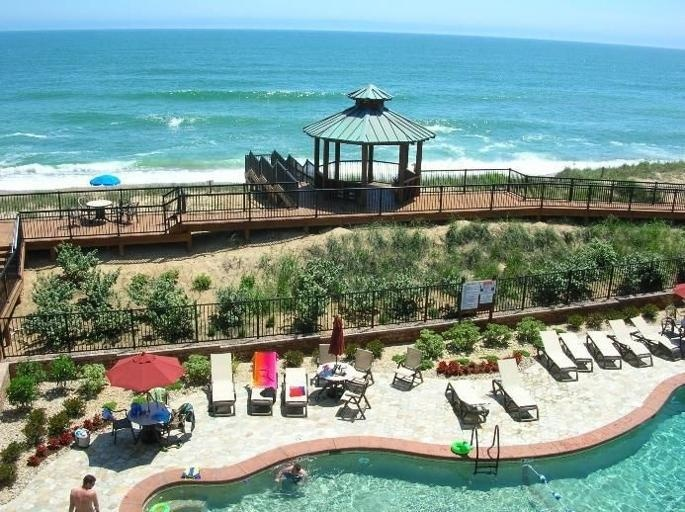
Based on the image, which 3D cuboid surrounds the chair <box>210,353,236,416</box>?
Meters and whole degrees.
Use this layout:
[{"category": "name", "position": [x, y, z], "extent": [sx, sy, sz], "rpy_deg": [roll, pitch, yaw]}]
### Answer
[{"category": "chair", "position": [-3.338, 3.507, 17.704], "extent": [0.718, 0.856, 1.681], "rpy_deg": [-1, 25, -10]}]

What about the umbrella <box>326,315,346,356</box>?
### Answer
[{"category": "umbrella", "position": [-0.233, 2.334, 17.904], "extent": [0.418, 1.407, 0.678], "rpy_deg": [-4, 17, -4]}]

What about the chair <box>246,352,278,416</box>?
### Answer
[{"category": "chair", "position": [-2.225, 3.547, 17.868], "extent": [0.772, 0.847, 1.683], "rpy_deg": [1, 29, -5]}]

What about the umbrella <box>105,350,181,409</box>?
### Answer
[{"category": "umbrella", "position": [-4.934, 2.877, 15.968], "extent": [1.749, 0.690, 1.097], "rpy_deg": [-6, 16, -15]}]

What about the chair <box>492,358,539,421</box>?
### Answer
[{"category": "chair", "position": [4.768, 3.725, 17.791], "extent": [0.800, 1.227, 1.557], "rpy_deg": [-7, 17, -14]}]

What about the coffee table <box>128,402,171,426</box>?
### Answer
[{"category": "coffee table", "position": [-4.870, 4.041, 16.156], "extent": [0.614, 0.188, 0.814], "rpy_deg": [1, 25, -22]}]

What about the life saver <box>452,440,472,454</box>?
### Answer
[{"category": "life saver", "position": [2.990, 4.878, 16.275], "extent": [0.505, 0.219, 0.506], "rpy_deg": [-1, 15, 6]}]

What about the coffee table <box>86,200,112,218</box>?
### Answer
[{"category": "coffee table", "position": [-9.513, -1.865, 25.176], "extent": [0.911, 0.533, 0.843], "rpy_deg": [11, 35, 1]}]

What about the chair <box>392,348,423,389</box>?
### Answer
[{"category": "chair", "position": [1.912, 3.364, 18.809], "extent": [0.861, 1.124, 0.917], "rpy_deg": [11, 21, 37]}]

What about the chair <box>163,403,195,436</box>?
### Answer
[{"category": "chair", "position": [-4.336, 4.264, 16.718], "extent": [0.930, 0.807, 0.725], "rpy_deg": [1, -1, -29]}]
